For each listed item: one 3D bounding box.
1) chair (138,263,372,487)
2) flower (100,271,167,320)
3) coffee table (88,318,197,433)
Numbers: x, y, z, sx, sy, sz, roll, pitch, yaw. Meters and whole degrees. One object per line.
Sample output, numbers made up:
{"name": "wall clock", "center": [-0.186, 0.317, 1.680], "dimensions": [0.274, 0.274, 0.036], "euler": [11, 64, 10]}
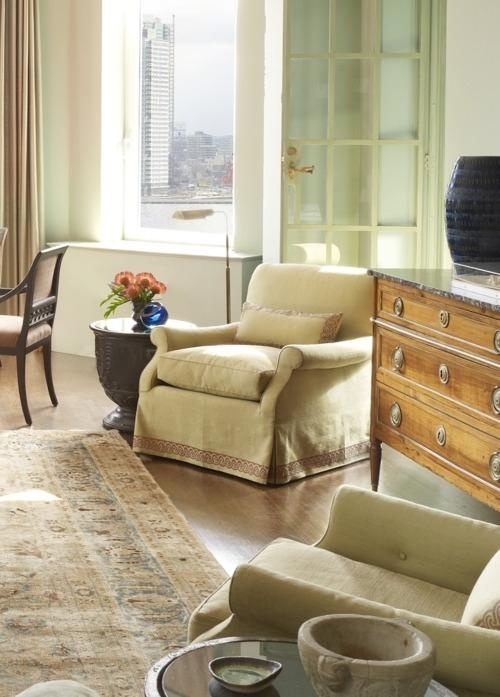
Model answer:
{"name": "chair", "center": [0.122, 0.091, 3.566], "dimensions": [1.150, 1.095, 1.159], "euler": [4, 5, 41]}
{"name": "flower", "center": [-0.762, -0.355, 4.238], "dimensions": [0.489, 0.328, 0.461], "euler": [3, 9, 29]}
{"name": "coffee table", "center": [-0.748, 0.114, 3.988], "dimensions": [0.660, 0.556, 0.624], "euler": [8, 12, 21]}
